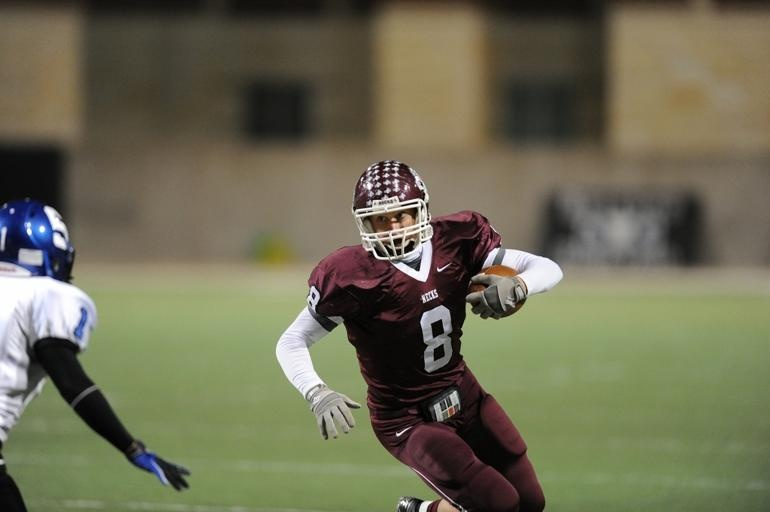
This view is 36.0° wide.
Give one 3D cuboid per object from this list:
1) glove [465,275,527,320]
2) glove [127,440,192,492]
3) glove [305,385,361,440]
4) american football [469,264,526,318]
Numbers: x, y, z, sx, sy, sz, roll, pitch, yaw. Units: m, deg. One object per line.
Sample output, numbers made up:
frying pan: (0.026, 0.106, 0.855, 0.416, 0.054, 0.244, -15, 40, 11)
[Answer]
glove: (0.957, 0.339, 10.163, 0.529, 0.368, 0.170, 1, 7, 5)
glove: (-1.919, 1.773, 9.931, 0.508, 0.456, 0.193, -1, 7, -11)
glove: (-0.423, 1.315, 10.107, 0.439, 0.171, 0.544, -19, 49, -19)
american football: (0.952, 0.285, 10.278, 0.472, 0.378, 0.365, -11, 12, -14)
